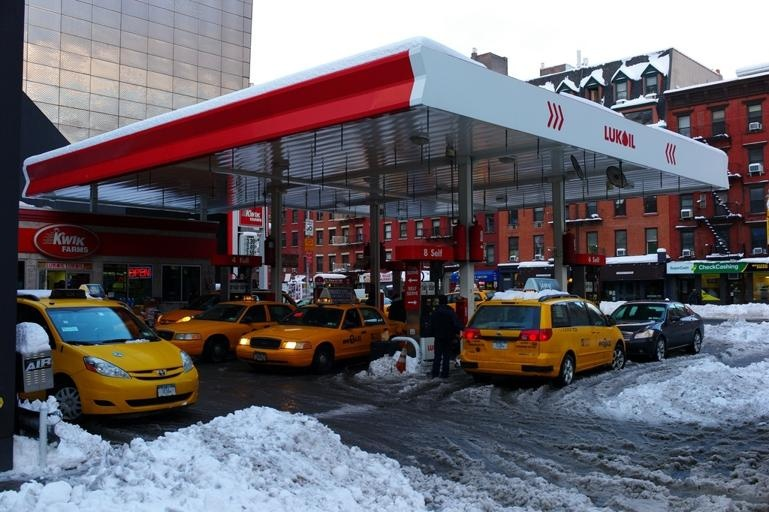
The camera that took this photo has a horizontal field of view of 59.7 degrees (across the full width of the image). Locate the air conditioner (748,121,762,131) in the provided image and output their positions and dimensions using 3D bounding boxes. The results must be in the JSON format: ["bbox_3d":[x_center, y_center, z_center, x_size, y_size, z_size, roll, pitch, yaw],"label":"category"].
[{"bbox_3d":[28.242,-9.831,50.991,1.129,0.767,0.629,-2,-2,44],"label":"air conditioner"}]

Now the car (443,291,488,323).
[{"bbox_3d":[3.775,2.315,31.292,2.100,1.069,1.288,2,-4,7],"label":"car"}]

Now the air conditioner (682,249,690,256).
[{"bbox_3d":[23.606,-0.273,52.374,0.473,0.357,0.471,0,-6,-6],"label":"air conditioner"}]

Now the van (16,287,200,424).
[{"bbox_3d":[-5.126,1.875,12.721,3.669,1.668,2.045,-3,-5,40],"label":"van"}]

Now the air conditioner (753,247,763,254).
[{"bbox_3d":[28.101,-0.371,50.326,0.420,0.514,0.766,6,-9,-39],"label":"air conditioner"}]

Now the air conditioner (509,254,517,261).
[{"bbox_3d":[11.780,0.208,61.191,0.450,0.521,0.803,-2,1,-36],"label":"air conditioner"}]

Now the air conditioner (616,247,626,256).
[{"bbox_3d":[19.673,-0.370,55.596,0.616,0.494,0.627,-3,-4,31],"label":"air conditioner"}]

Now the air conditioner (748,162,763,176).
[{"bbox_3d":[28.215,-6.592,50.844,0.992,1.001,0.546,-5,-9,43],"label":"air conditioner"}]

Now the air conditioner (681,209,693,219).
[{"bbox_3d":[23.755,-3.323,52.602,1.116,0.967,0.640,1,5,40],"label":"air conditioner"}]

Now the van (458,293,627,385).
[{"bbox_3d":[3.982,1.939,16.592,2.030,1.518,3.612,-2,0,40],"label":"van"}]
